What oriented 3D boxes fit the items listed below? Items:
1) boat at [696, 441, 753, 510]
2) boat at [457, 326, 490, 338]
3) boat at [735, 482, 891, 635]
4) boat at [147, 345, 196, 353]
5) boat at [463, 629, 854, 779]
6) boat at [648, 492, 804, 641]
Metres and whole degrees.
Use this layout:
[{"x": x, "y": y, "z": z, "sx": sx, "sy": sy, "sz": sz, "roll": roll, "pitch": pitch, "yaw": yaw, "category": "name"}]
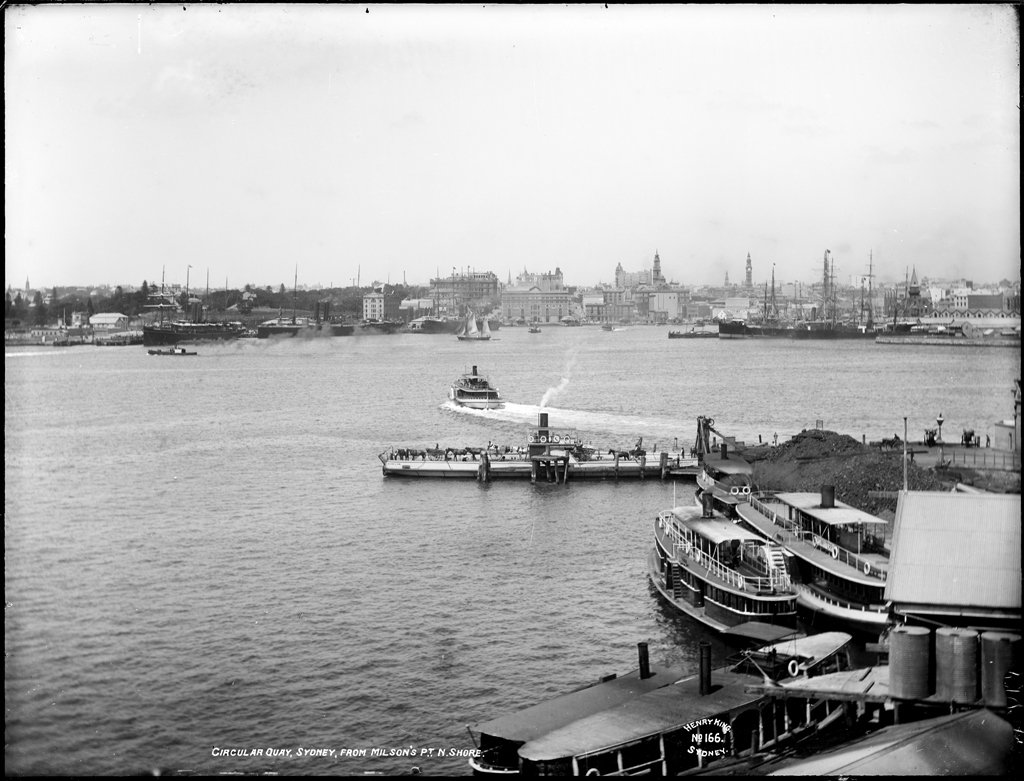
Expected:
[{"x": 2.276, "y": 0.903, "z": 17.204, "sx": 0.228, "sy": 0.298, "sz": 0.800, "roll": -3, "pitch": 30, "yaw": -23, "category": "boat"}, {"x": -1.428, "y": -2.131, "z": 59.063, "sx": 1.103, "sy": 0.423, "sz": 0.578, "roll": -1, "pitch": 7, "yaw": 3, "category": "boat"}, {"x": 2.823, "y": 1.425, "z": 13.404, "sx": 0.811, "sy": 0.936, "sz": 2.831, "roll": -8, "pitch": 8, "yaw": -8, "category": "boat"}, {"x": -10.478, "y": -1.282, "z": 47.678, "sx": 0.944, "sy": 0.188, "sz": 0.241, "roll": 7, "pitch": 17, "yaw": 27, "category": "boat"}, {"x": 1.087, "y": 2.141, "z": 10.354, "sx": 2.022, "sy": 0.444, "sz": 1.037, "roll": -8, "pitch": 8, "yaw": -41, "category": "boat"}, {"x": 1.739, "y": 1.449, "z": 13.370, "sx": 0.894, "sy": 0.715, "sz": 2.287, "roll": 1, "pitch": 10, "yaw": -15, "category": "boat"}]
